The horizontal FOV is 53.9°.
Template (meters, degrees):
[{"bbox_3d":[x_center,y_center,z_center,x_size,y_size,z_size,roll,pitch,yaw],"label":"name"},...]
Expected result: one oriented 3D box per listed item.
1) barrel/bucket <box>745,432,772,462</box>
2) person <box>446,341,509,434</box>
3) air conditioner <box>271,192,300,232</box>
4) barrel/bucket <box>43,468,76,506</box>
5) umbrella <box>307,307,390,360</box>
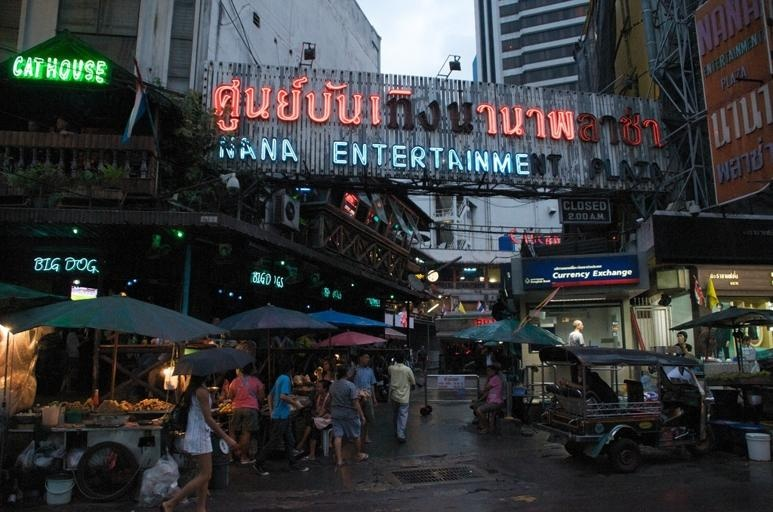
[{"bbox_3d":[9.727,4.947,19.877,0.635,0.582,0.612,2,-6,0],"label":"barrel/bucket"},{"bbox_3d":[3.224,4.370,23.778,1.251,2.704,1.047,1,-4,-7],"label":"person"},{"bbox_3d":[-3.370,-1.419,25.130,0.374,1.050,1.197,-2,-7,25],"label":"air conditioner"},{"bbox_3d":[-7.558,5.364,17.769,0.620,0.587,0.639,0,-8,0],"label":"barrel/bucket"},{"bbox_3d":[-1.460,2.815,27.747,2.462,0.923,2.390,1,-11,-3],"label":"umbrella"}]
